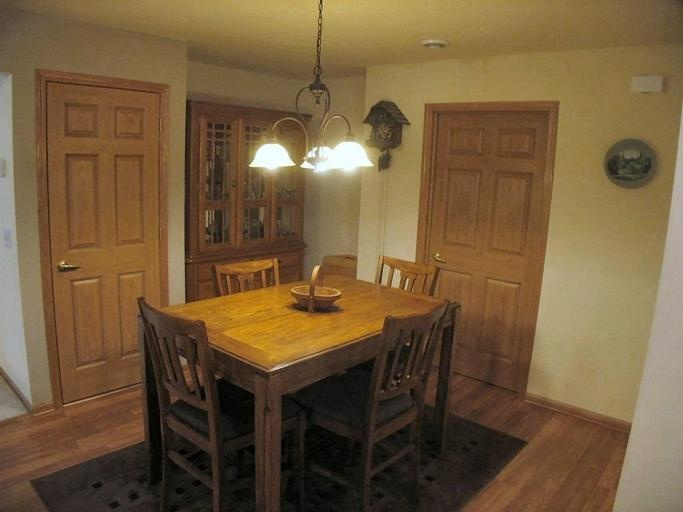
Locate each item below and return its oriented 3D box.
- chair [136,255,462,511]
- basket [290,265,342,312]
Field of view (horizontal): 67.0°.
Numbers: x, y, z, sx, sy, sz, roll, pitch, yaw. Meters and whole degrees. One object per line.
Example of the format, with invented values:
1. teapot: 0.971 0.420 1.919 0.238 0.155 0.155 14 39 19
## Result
1. chair: -0.284 0.785 3.463 1.139 0.937 1.530 9 13 36
2. basket: -0.168 0.215 3.546 0.319 0.282 0.341 5 7 11
